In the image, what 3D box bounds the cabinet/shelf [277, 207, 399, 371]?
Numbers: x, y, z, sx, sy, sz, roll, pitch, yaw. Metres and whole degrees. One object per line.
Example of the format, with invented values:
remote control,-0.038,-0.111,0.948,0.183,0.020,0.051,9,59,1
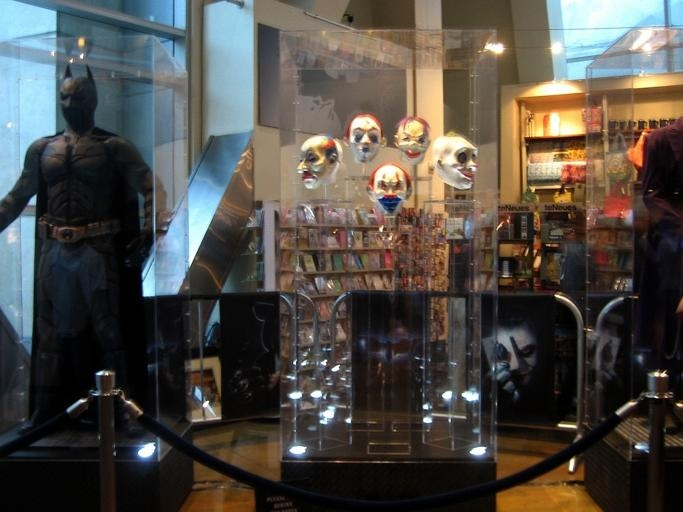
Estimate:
cabinet/shelf,-0.005,0.157,4.059,0.923,1.100,0.348,0,1,-15
